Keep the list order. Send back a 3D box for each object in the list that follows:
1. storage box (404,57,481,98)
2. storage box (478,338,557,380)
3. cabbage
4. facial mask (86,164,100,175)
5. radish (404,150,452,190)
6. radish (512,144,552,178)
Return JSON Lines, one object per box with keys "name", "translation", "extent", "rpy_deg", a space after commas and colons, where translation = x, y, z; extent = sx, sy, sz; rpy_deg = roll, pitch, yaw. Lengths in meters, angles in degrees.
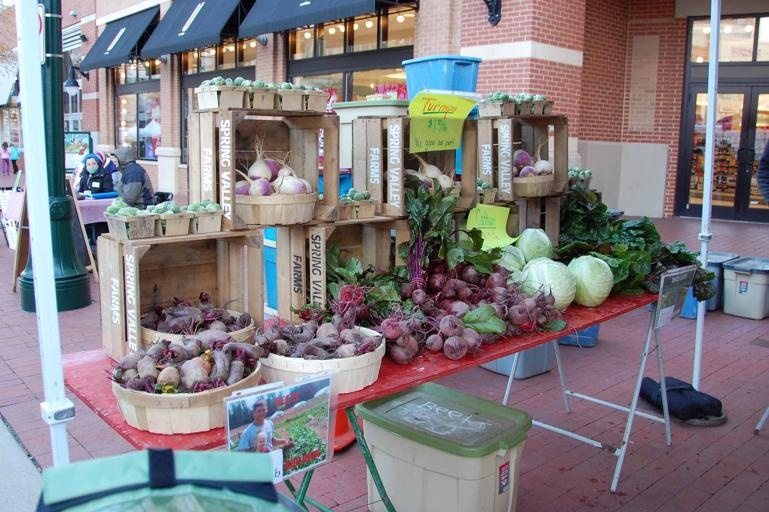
{"name": "storage box", "translation": [0.502, -1.599, 4.992], "extent": [0.553, 0.354, 0.752], "rpy_deg": [-8, 12, -42]}
{"name": "storage box", "translation": [1.427, 1.066, 5.549], "extent": [0.664, 0.407, 0.494], "rpy_deg": [-9, 12, -32]}
{"name": "cabbage", "translation": [1.094, 0.082, 3.579], "extent": [0.707, 0.504, 0.370], "rpy_deg": [-4, 24, -15]}
{"name": "facial mask", "translation": [-4.828, -1.403, 8.915], "extent": [0.253, 0.152, 0.124], "rpy_deg": [6, 7, 20]}
{"name": "radish", "translation": [0.311, -0.574, 3.703], "extent": [0.340, 0.240, 0.494], "rpy_deg": [4, 7, 7]}
{"name": "radish", "translation": [1.108, -0.771, 4.176], "extent": [0.232, 0.139, 0.299], "rpy_deg": [-13, 37, -15]}
